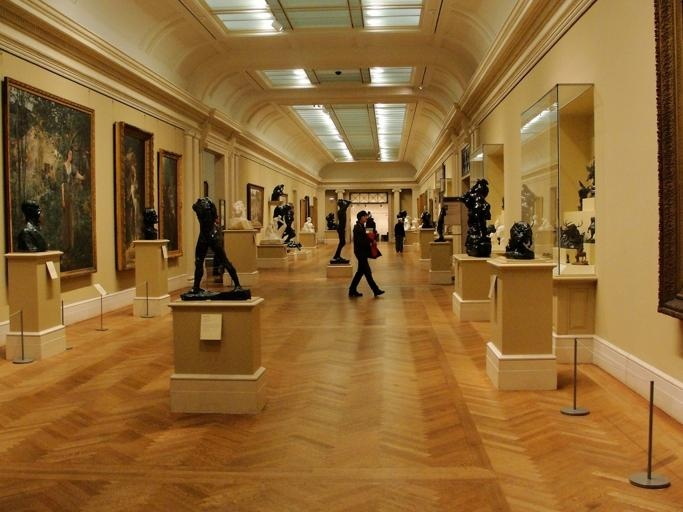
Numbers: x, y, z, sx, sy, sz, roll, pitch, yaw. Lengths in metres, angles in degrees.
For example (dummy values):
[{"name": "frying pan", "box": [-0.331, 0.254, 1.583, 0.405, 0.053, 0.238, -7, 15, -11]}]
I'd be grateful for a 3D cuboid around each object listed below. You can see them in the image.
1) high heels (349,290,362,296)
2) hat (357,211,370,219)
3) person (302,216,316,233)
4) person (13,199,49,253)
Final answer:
[{"name": "high heels", "box": [0.359, 0.929, 12.030, 0.344, 0.169, 0.122, 0, 4, 1]}, {"name": "hat", "box": [0.506, -0.974, 11.436, 0.228, 0.265, 0.194, 5, 13, -17]}, {"name": "person", "box": [-1.783, -1.697, 26.006, 0.634, 0.852, 1.342, -2, 8, -5]}, {"name": "person", "box": [-5.081, -0.496, 7.885, 0.438, 0.843, 0.843, -4, 5, -28]}]
